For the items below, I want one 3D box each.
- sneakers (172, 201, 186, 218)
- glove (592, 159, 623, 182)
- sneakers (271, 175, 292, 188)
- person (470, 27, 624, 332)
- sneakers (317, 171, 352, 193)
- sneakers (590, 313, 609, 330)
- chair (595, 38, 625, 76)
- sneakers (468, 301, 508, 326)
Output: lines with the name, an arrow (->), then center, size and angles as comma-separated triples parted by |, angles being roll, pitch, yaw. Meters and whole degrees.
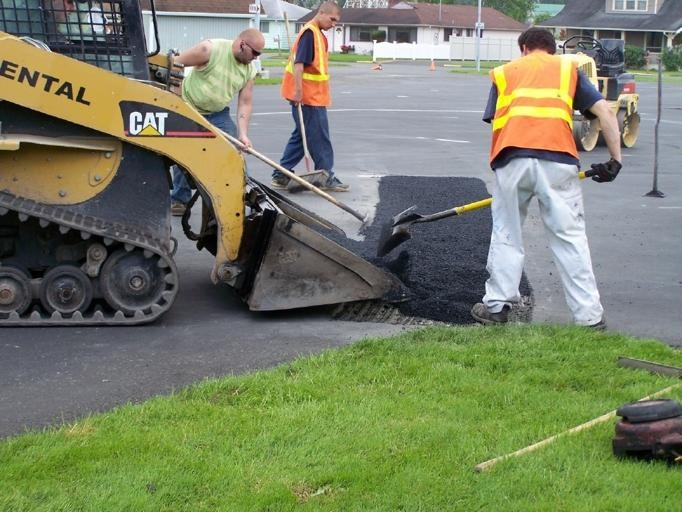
sneakers -> -1.714, -0.497, 8.608 | 0.177, 0.151, 0.369 | 1, 14, -6
glove -> 1.875, -0.605, 5.740 | 0.162, 0.105, 0.211 | -1, 7, -34
sneakers -> -0.764, -0.906, 10.094 | 0.281, 0.181, 0.103 | -2, 11, -6
person -> 1.451, -0.524, 5.663 | 0.964, 2.111, 0.648 | 3, 12, 11
sneakers -> -0.073, -0.881, 9.960 | 0.418, 0.172, 0.173 | 5, 9, 19
sneakers -> 1.756, 0.483, 5.520 | 0.088, 0.087, 0.168 | 9, 13, 36
chair -> 4.773, -3.489, 14.232 | 0.596, 0.509, 0.852 | 5, 18, 17
sneakers -> 1.055, 0.416, 5.860 | 0.118, 0.179, 0.274 | -3, 20, -33
